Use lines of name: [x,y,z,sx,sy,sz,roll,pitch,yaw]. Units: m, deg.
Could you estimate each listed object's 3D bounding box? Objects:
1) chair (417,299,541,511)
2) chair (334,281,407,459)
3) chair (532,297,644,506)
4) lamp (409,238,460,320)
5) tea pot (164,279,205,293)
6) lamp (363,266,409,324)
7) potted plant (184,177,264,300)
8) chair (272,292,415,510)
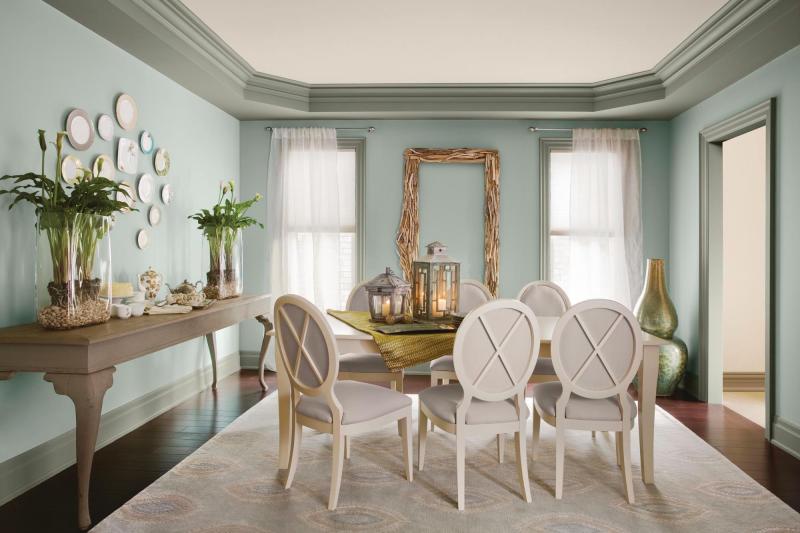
chair: [0.523,0.919,3.822,0.831,1.408,0.434,2,4,14]
chair: [-0.116,0.754,4.848,0.645,1.094,0.693,0,-9,26]
chair: [1.321,0.908,3.851,0.720,1.379,0.332,2,4,15]
lamp: [0.293,0.113,4.417,0.329,0.580,0.340,-3,7,-19]
tea pot: [-1.956,0.183,4.910,0.264,0.141,0.165,1,-2,-11]
lamp: [-0.077,0.227,4.323,0.397,0.448,0.401,-3,-4,42]
potted plant: [-1.752,-0.256,5.295,0.753,1.086,0.604,4,3,-6]
chair: [-0.430,0.883,4.032,0.772,1.397,0.920,5,5,42]
